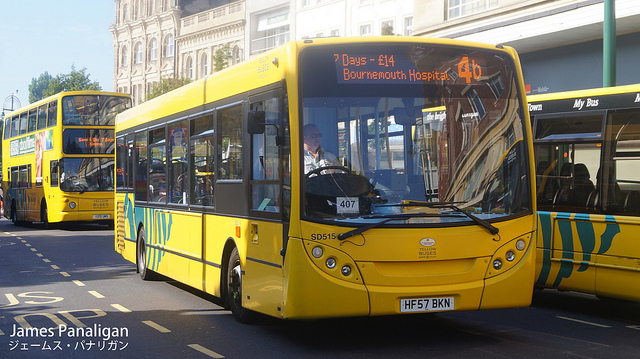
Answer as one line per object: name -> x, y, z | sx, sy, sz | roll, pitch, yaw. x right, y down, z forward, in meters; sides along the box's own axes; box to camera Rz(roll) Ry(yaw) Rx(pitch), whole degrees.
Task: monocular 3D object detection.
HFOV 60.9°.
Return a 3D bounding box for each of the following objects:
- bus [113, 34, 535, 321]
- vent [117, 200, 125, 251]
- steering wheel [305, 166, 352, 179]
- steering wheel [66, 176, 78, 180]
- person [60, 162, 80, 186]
bus -> -0.609, 0.165, 10.179 | 7.896, 5.027, 2.897 | 0, 1, 41
vent -> -5.858, 1.319, 15.976 | 0.141, 1.459, 0.897 | -1, 1, -24
steering wheel -> 0.123, -0.131, 8.368 | 0.694, 0.175, 0.130 | 0, 1, -15
steering wheel -> -13.099, -0.116, 28.648 | 0.523, 0.200, 0.025 | 0, 1, -14
person -> -13.115, -0.337, 28.597 | 1.123, 1.056, 0.288 | 6, 9, -32
